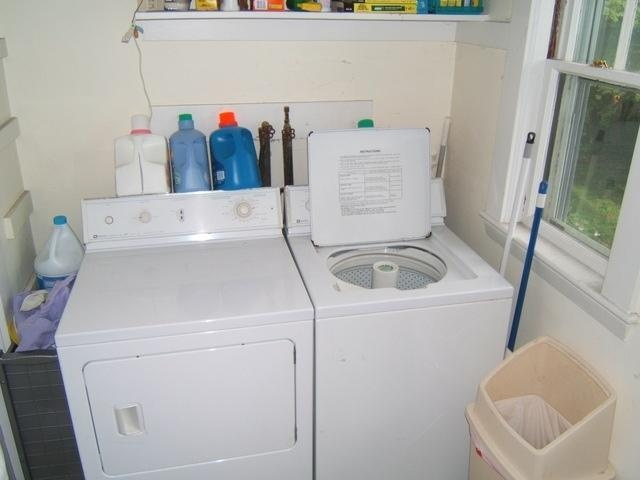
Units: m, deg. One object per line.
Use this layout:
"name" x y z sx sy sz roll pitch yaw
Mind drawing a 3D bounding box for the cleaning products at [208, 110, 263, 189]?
"cleaning products" -0.442 -0.411 2.364 0.230 0.284 0.183 -10 23 -11

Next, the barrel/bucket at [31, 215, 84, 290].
"barrel/bucket" -1.324 0.072 2.318 0.213 0.404 0.233 10 18 -3
